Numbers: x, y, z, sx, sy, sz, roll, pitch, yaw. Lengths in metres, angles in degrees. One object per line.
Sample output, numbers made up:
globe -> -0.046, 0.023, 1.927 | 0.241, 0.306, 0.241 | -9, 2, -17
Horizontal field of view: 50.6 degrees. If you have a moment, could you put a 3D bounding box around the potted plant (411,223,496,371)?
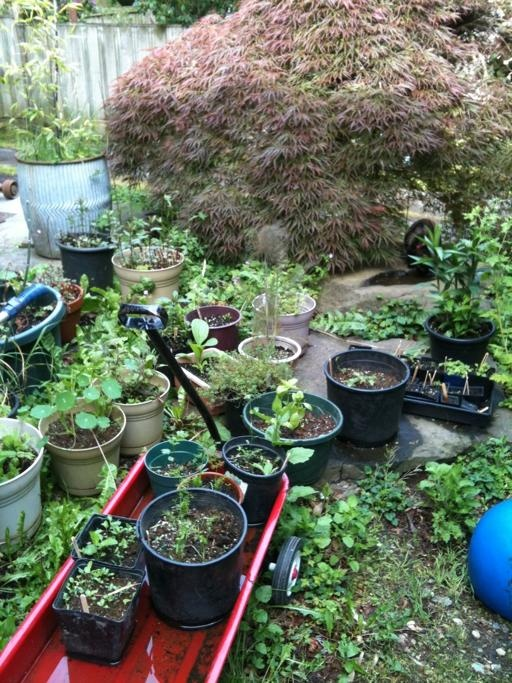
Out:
potted plant -> 1.204, -0.279, 3.203 | 0.416, 0.774, 0.481 | -12, 20, -22

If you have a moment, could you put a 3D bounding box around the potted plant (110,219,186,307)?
potted plant -> -0.769, -0.541, 3.936 | 0.617, 0.597, 0.635 | -2, 30, -5

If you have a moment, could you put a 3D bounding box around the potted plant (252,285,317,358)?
potted plant -> 0.183, -0.139, 3.418 | 0.382, 0.297, 0.412 | -1, 31, 1

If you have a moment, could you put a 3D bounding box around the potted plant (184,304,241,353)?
potted plant -> -0.236, -0.096, 3.262 | 0.299, 0.215, 0.298 | -2, 31, -1
